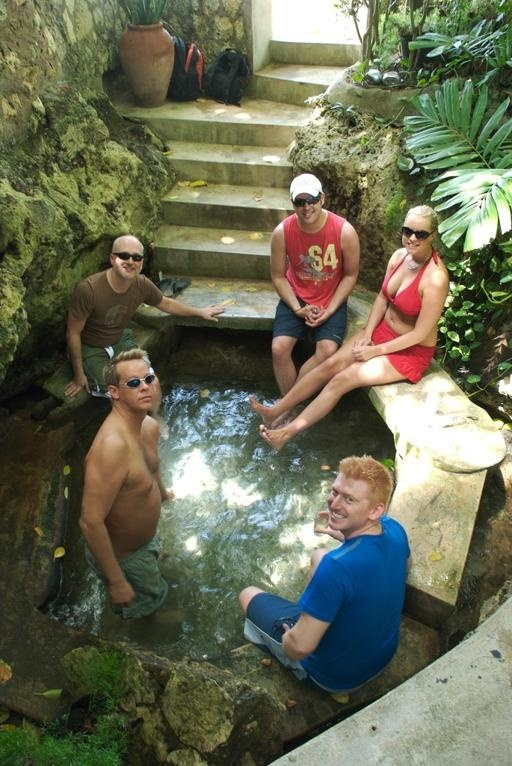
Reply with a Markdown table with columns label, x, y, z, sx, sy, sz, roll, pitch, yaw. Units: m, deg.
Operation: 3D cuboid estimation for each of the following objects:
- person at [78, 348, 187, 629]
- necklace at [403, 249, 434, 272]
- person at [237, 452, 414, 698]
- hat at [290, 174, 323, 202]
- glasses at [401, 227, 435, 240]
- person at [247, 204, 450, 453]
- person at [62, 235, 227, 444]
| label | x | y | z | sx | sy | sz | roll | pitch | yaw |
| --- | --- | --- | --- | --- | --- | --- | --- | --- | --- |
| person | -0.724 | 0.656 | 3.449 | 0.479 | 1.560 | 0.817 | 8 | 46 | 4 |
| necklace | 1.050 | -0.796 | 3.945 | 0.120 | 0.160 | 0.056 | 18 | 76 | 8 |
| person | 0.312 | 0.878 | 2.645 | 0.700 | 1.035 | 0.541 | 1 | 33 | 2 |
| hat | 0.354 | -1.358 | 4.179 | 0.163 | 0.127 | 0.220 | -8 | 18 | 13 |
| glasses | 0.999 | -0.937 | 3.753 | 0.185 | 0.067 | 0.104 | 10 | 33 | 15 |
| person | 0.635 | -0.342 | 4.053 | 1.590 | 1.273 | 0.634 | -29 | 46 | -18 |
| person | -0.872 | -0.525 | 4.581 | 0.743 | 1.241 | 1.552 | 30 | 33 | 29 |
